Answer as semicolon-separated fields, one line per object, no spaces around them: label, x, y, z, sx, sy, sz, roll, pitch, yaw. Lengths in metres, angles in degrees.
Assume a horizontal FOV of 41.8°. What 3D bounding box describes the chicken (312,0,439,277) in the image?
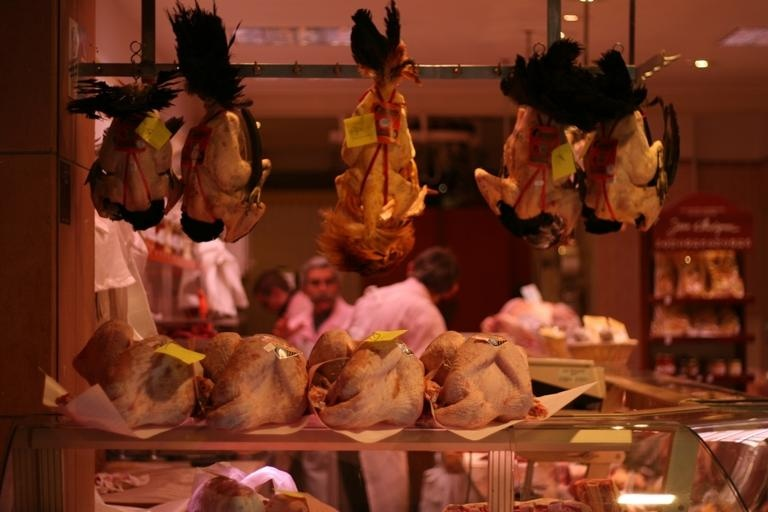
chicken;-0.035;-0.482;4.204;0.458;1.125;0.284;1;5;-19

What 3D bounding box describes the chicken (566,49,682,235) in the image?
chicken;1.019;-0.491;4.262;0.583;0.697;0.280;-4;13;0

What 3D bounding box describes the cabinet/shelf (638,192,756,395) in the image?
cabinet/shelf;2.045;0.247;6.583;0.717;1.260;0.575;3;5;14

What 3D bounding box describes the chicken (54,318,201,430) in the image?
chicken;-0.960;0.458;3.873;0.506;0.401;0.205;1;4;-12

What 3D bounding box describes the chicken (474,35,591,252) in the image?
chicken;0.615;-0.464;4.231;0.438;0.861;0.174;3;5;10

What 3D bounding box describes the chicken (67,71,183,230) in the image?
chicken;-1.063;-0.431;4.152;0.433;0.649;0.155;3;5;9

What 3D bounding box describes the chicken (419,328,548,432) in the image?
chicken;0.366;0.504;3.862;0.381;0.389;0.171;-3;-13;-7
